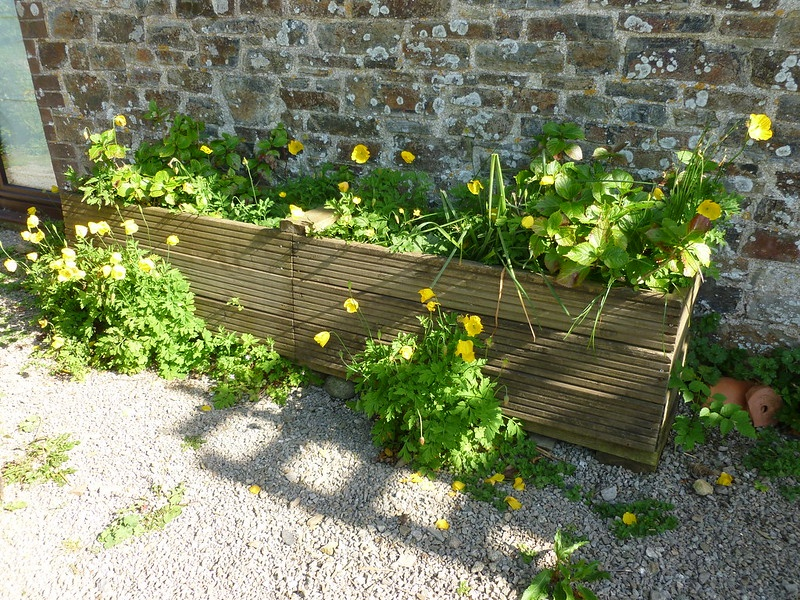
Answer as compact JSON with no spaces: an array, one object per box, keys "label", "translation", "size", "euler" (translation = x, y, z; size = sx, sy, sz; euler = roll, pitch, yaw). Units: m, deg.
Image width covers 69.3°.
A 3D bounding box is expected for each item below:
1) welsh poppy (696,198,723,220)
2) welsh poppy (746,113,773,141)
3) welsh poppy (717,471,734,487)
[{"label":"welsh poppy","translation":[1.360,-0.407,2.559],"size":[0.092,0.083,0.174],"euler":[14,27,23]},{"label":"welsh poppy","translation":[1.661,-0.810,2.682],"size":[0.091,0.108,0.184],"euler":[16,27,26]},{"label":"welsh poppy","translation":[1.629,0.903,2.914],"size":[0.066,0.047,0.069],"euler":[19,29,31]}]
